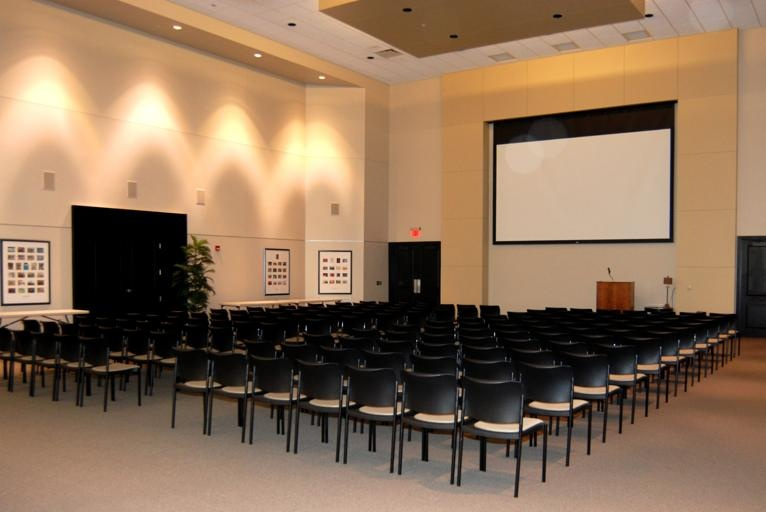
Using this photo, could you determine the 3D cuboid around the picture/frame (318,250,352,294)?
[{"bbox_3d":[-1.729,0.582,19.356,1.596,1.897,0.075,-1,2,-7],"label":"picture/frame"}]
